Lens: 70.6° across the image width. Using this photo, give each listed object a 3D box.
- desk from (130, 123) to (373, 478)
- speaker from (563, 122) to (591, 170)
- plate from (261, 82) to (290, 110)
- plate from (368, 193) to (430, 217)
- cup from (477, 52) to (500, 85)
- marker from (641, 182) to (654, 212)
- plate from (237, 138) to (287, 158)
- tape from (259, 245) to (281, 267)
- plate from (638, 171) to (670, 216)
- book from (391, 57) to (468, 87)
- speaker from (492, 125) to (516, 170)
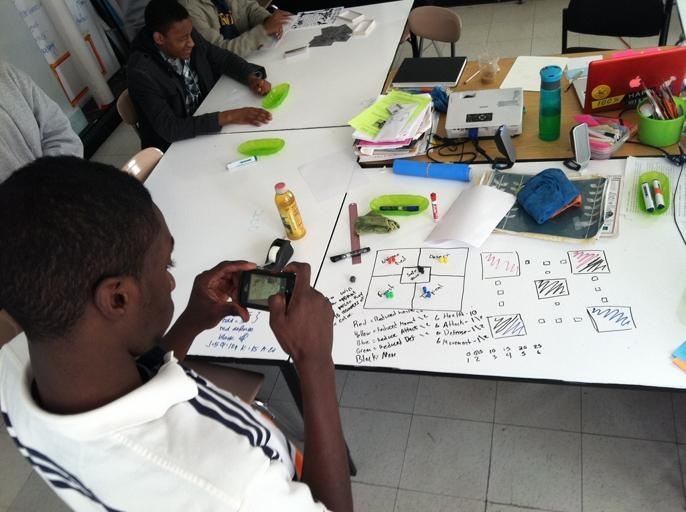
[{"bbox_3d":[-0.239,0.421,3.337,1.368,1.282,2.632,-1,59,10],"label":"desk"},{"bbox_3d":[1.029,-0.472,2.117,0.117,0.219,0.110,-36,40,-22],"label":"speaker"},{"bbox_3d":[-0.417,-1.010,3.070,0.132,0.047,0.223,18,63,23],"label":"plate"},{"bbox_3d":[0.261,-0.233,2.163,0.168,0.034,0.127,1,40,8],"label":"plate"},{"bbox_3d":[0.803,-1.041,2.713,0.116,0.173,0.178,-2,40,8],"label":"cup"},{"bbox_3d":[1.202,-0.231,1.903,0.040,0.040,0.146,-16,42,33],"label":"marker"},{"bbox_3d":[-0.453,-0.606,2.699,0.236,0.042,0.120,-9,52,4],"label":"plate"},{"bbox_3d":[-0.305,0.004,2.058,0.055,0.032,0.110,8,81,26],"label":"tape"},{"bbox_3d":[1.246,-0.256,1.929,0.105,0.050,0.206,1,44,19],"label":"plate"},{"bbox_3d":[0.508,-1.062,2.803,0.275,0.032,0.308,3,43,14],"label":"book"},{"bbox_3d":[0.734,-0.489,2.198,0.098,0.177,0.136,-4,41,22],"label":"speaker"}]
